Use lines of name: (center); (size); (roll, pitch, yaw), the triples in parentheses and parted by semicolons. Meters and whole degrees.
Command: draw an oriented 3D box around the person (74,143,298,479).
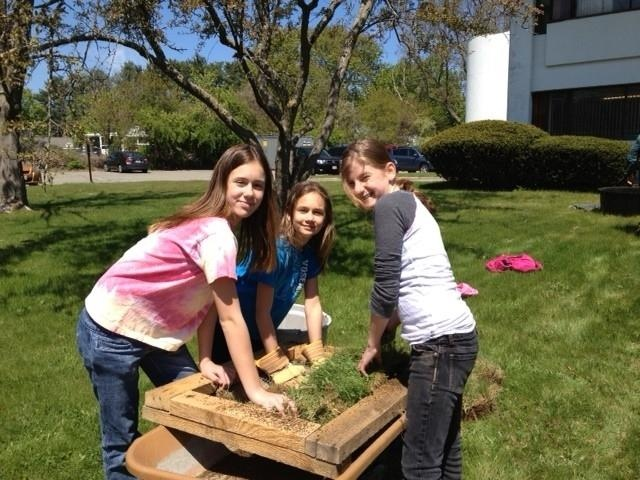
person: (-0.894, 0.474, 3.607); (1.338, 2.138, 0.732); (-2, 9, -5)

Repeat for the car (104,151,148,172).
car: (-12.153, -4.938, 34.718); (1.404, 1.245, 3.141); (-4, 12, -39)

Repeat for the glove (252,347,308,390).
glove: (-0.265, 0.910, 3.859); (0.212, 0.123, 0.303); (-20, 53, -42)
